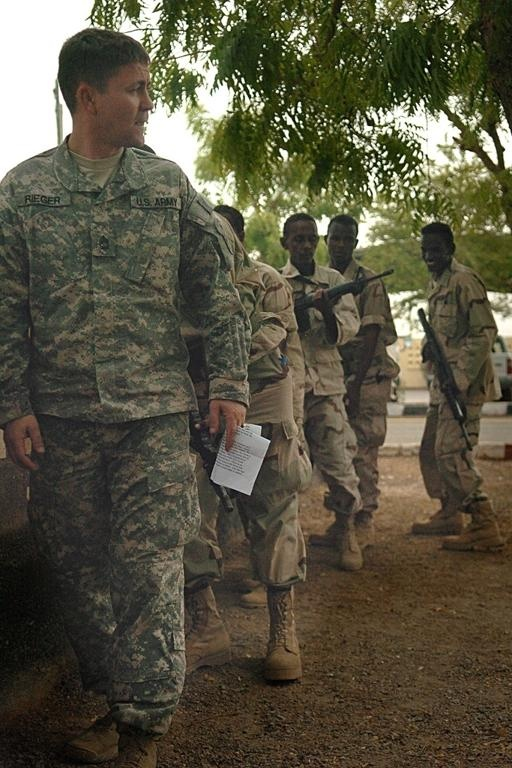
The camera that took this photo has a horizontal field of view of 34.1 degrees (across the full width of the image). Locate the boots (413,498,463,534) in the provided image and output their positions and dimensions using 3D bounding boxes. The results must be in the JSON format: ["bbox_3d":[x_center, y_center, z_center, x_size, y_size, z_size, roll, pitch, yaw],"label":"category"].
[{"bbox_3d":[1.203,0.904,5.523,0.396,0.249,0.154,0,-4,12],"label":"boots"}]

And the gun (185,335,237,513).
[{"bbox_3d":[-0.106,0.173,2.911,0.124,0.737,0.269,-15,42,-3],"label":"gun"}]

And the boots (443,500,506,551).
[{"bbox_3d":[1.322,0.876,5.114,0.460,0.374,0.208,1,-5,16],"label":"boots"}]

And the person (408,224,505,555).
[{"bbox_3d":[1.250,-0.017,5.211,0.509,1.992,0.764,-2,3,0],"label":"person"}]

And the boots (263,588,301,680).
[{"bbox_3d":[0.101,0.937,3.145,0.135,0.288,0.304,-1,2,2],"label":"boots"}]
